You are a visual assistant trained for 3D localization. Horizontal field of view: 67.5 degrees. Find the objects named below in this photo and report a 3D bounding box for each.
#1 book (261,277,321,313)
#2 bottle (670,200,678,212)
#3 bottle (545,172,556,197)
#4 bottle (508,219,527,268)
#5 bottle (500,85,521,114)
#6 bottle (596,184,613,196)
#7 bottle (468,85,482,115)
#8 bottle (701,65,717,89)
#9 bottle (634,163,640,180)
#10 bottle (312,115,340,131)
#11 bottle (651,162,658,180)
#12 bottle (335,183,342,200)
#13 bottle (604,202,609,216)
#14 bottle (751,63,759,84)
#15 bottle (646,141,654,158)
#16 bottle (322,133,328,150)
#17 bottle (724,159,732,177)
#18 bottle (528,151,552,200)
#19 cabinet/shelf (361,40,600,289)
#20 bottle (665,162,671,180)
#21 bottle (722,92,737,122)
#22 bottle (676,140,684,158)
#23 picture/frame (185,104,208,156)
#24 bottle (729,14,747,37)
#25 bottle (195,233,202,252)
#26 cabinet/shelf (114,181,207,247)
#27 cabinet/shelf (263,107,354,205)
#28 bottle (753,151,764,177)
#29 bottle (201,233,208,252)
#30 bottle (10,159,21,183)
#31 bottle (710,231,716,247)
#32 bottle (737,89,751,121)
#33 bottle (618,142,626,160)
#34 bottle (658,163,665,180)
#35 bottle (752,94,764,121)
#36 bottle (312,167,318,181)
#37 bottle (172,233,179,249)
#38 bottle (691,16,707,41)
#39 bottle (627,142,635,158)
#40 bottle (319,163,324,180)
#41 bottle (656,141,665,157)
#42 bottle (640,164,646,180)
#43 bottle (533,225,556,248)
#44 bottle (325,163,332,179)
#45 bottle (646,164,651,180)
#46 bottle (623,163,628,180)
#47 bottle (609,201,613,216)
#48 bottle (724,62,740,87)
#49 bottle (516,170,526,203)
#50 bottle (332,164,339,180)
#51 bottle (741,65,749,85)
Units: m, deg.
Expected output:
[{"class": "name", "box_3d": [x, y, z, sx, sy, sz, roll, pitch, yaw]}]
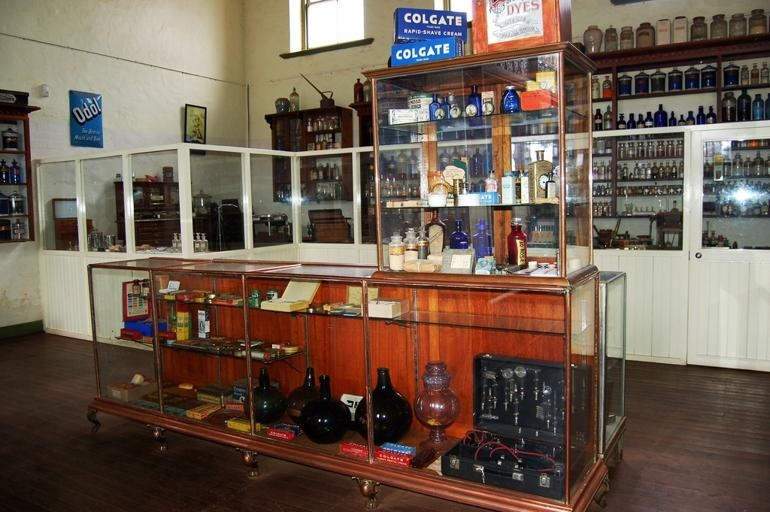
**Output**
[{"class": "book", "box_3d": [-0.787, 0.296, 4.821, 0.314, 0.197, 0.316, 1, 7, 38]}, {"class": "bottle", "box_3d": [3.401, -0.582, 6.720, 0.071, 0.129, 0.028, 5, 15, 26]}, {"class": "bottle", "box_3d": [1.206, -0.505, 4.153, 0.044, 0.167, 0.091, -6, 14, -17]}, {"class": "bottle", "box_3d": [1.004, -0.099, 4.334, 0.051, 0.361, 0.150, -11, 16, -34]}, {"class": "bottle", "box_3d": [0.940, -1.154, 4.260, 0.138, 0.190, 0.029, 2, 14, 13]}, {"class": "bottle", "box_3d": [2.759, -0.823, 7.186, 0.136, 0.128, 0.040, 7, 12, 39]}, {"class": "bottle", "box_3d": [0.685, -1.171, 4.366, 0.109, 0.227, 0.021, 6, 16, 30]}, {"class": "bottle", "box_3d": [4.419, -2.440, 7.834, 0.184, 0.291, 0.158, 5, 15, 24]}, {"class": "bottle", "box_3d": [3.049, -1.019, 6.903, 0.026, 0.178, 0.086, -8, 15, -26]}, {"class": "bottle", "box_3d": [-1.044, -2.424, 10.536, 0.576, 0.243, 0.101, 6, 16, 29]}, {"class": "bottle", "box_3d": [3.175, -0.984, 6.761, 0.092, 0.182, 0.051, 7, 16, 32]}, {"class": "bottle", "box_3d": [-0.648, -0.904, 8.149, 0.110, 0.205, 0.074, 3, 14, 18]}, {"class": "bottle", "box_3d": [2.723, -0.570, 7.051, 0.088, 0.130, 0.132, 4, 15, 22]}, {"class": "bottle", "box_3d": [4.920, -2.408, 7.624, 0.103, 0.272, 0.331, 7, 16, 31]}, {"class": "bottle", "box_3d": [3.145, -1.251, 6.797, 0.069, 0.156, 0.034, 5, 15, 26]}, {"class": "bottle", "box_3d": [-1.092, -2.102, 10.625, 0.066, 0.229, 0.081, -3, 14, -5]}, {"class": "bottle", "box_3d": [3.891, -0.978, 6.491, 0.120, 0.190, 0.047, 7, 16, 30]}, {"class": "bottle", "box_3d": [1.137, -0.586, 4.214, 0.065, 0.360, 0.191, -13, 18, -40]}, {"class": "cabinet/shelf", "box_3d": [0.741, -0.670, 4.370, 1.919, 2.029, 0.804, 1, 3, 23]}, {"class": "bottle", "box_3d": [3.301, -0.992, 6.698, 0.093, 0.178, 0.058, 5, 15, 26]}, {"class": "bottle", "box_3d": [4.640, -2.008, 7.734, 0.205, 0.365, 0.333, 6, 16, 29]}, {"class": "bottle", "box_3d": [3.415, -1.237, 6.650, 0.093, 0.194, 0.045, 3, 14, 18]}, {"class": "picture/frame", "box_3d": [-3.626, -2.536, 11.087, 0.181, 0.728, 0.621, 3, 15, 20]}, {"class": "bottle", "box_3d": [4.687, -3.050, 7.598, 0.198, 0.292, 0.272, 4, 15, 23]}, {"class": "bottle", "box_3d": [-2.369, -0.161, 7.319, 0.035, 0.230, 0.108, 5, 15, 26]}, {"class": "cabinet/shelf", "box_3d": [-2.931, -0.557, 7.566, 0.841, 0.888, 0.306, -1, 12, 13]}, {"class": "cabinet/shelf", "box_3d": [-1.419, -1.858, 10.850, 1.859, 1.737, 0.639, 4, 7, 41]}, {"class": "bottle", "box_3d": [4.157, -1.021, 6.384, 0.115, 0.251, 0.077, 7, 16, 32]}, {"class": "bottle", "box_3d": [-2.299, -0.167, 7.408, 0.042, 0.226, 0.090, 11, 18, 41]}, {"class": "bottle", "box_3d": [-5.385, -1.217, 8.388, 0.101, 0.333, 0.161, -2, 14, -4]}, {"class": "bottle", "box_3d": [3.754, -0.192, 6.580, 0.083, 0.179, 0.031, 6, 16, 29]}, {"class": "bottle", "box_3d": [4.756, -2.004, 7.591, 0.167, 0.403, 0.299, 5, 15, 26]}, {"class": "bottle", "box_3d": [2.889, -1.269, 6.994, 0.102, 0.198, 0.023, 8, 17, 35]}, {"class": "bottle", "box_3d": [3.241, -0.991, 6.719, 0.062, 0.171, 0.048, 5, 15, 25]}, {"class": "bottle", "box_3d": [4.880, -1.948, 7.508, 0.155, 0.314, 0.249, 2, 14, 15]}, {"class": "bottle", "box_3d": [-1.006, -1.178, 8.314, 0.107, 0.160, 0.029, 9, 17, 36]}, {"class": "bottle", "box_3d": [-2.631, -0.191, 7.279, 0.149, 0.182, 0.037, 9, 17, 38]}, {"class": "bottle", "box_3d": [4.295, -3.100, 7.835, 0.195, 0.303, 0.199, -1, 14, 0]}, {"class": "bottle", "box_3d": [2.963, -1.274, 6.918, 0.098, 0.177, 0.038, 5, 15, 26]}, {"class": "bottle", "box_3d": [-0.876, -1.200, 8.245, 0.084, 0.180, 0.027, 3, 14, 17]}, {"class": "bottle", "box_3d": [3.236, -1.247, 6.726, 0.088, 0.170, 0.050, 4, 15, 21]}, {"class": "bottle", "box_3d": [3.091, -0.996, 6.839, 0.036, 0.148, 0.080, -3, 14, -5]}, {"class": "bottle", "box_3d": [1.172, -0.143, 4.187, 0.141, 0.138, 0.076, 9, 14, 38]}, {"class": "bottle", "box_3d": [-0.809, -1.207, 8.221, 0.104, 0.221, 0.042, -1, 14, 4]}, {"class": "bottle", "box_3d": [3.127, -0.985, 6.801, 0.043, 0.138, 0.056, 3, 14, 18]}, {"class": "bottle", "box_3d": [2.954, -1.032, 7.037, 0.031, 0.178, 0.072, -11, 17, -35]}, {"class": "bottle", "box_3d": [2.777, -0.573, 7.033, 0.068, 0.133, 0.160, 4, 15, 21]}, {"class": "bottle", "box_3d": [4.647, -2.392, 7.690, 0.199, 0.257, 0.167, 6, 16, 29]}, {"class": "bottle", "box_3d": [1.030, -0.514, 4.308, 0.063, 0.233, 0.117, -8, 15, -26]}, {"class": "bottle", "box_3d": [-0.682, -1.195, 8.178, 0.124, 0.188, 0.045, 6, 16, 29]}, {"class": "bottle", "box_3d": [4.786, -2.382, 7.620, 0.111, 0.259, 0.250, 5, 15, 26]}]
